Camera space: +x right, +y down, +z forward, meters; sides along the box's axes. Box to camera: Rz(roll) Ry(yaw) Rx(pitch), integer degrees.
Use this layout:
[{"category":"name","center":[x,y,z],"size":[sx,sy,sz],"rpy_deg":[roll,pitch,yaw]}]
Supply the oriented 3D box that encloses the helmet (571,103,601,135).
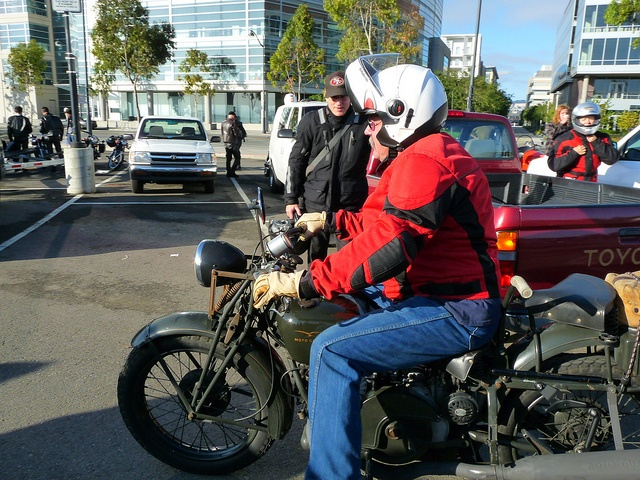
[{"category":"helmet","center":[3.470,-1.597,6.827],"size":[0.381,0.353,0.474],"rpy_deg":[2,13,11]}]

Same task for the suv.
[{"category":"suv","center":[-0.339,-2.109,11.661],"size":[1.874,1.401,2.606],"rpy_deg":[1,14,-12]}]

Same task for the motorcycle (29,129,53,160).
[{"category":"motorcycle","center":[-9.278,-3.136,17.364],"size":[0.644,0.725,1.705],"rpy_deg":[-8,18,-27]}]

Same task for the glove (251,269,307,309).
[{"category":"glove","center":[-0.213,0.258,2.760],"size":[0.245,0.098,0.188],"rpy_deg":[-5,43,5]}]

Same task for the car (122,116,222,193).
[{"category":"car","center":[-3.630,-2.225,13.346],"size":[2.069,1.752,2.818],"rpy_deg":[-2,16,-10]}]

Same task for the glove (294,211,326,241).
[{"category":"glove","center":[-0.057,-0.097,3.233],"size":[0.211,0.145,0.079],"rpy_deg":[-22,-15,9]}]

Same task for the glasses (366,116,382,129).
[{"category":"glasses","center":[0.297,-0.650,2.903],"size":[0.062,0.039,0.076],"rpy_deg":[0,-13,-1]}]

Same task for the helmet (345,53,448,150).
[{"category":"helmet","center":[0.468,-0.794,2.984],"size":[0.636,0.489,0.464],"rpy_deg":[5,9,14]}]

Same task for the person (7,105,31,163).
[{"category":"person","center":[-9.597,-3.516,16.518],"size":[0.785,1.383,1.838],"rpy_deg":[-8,19,-27]}]
